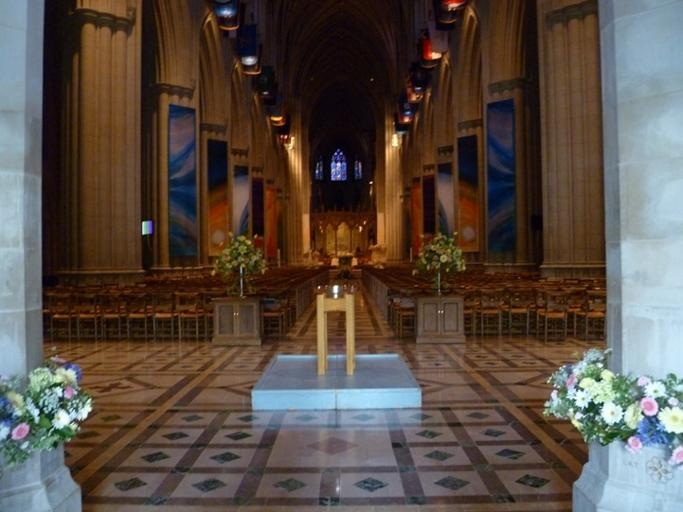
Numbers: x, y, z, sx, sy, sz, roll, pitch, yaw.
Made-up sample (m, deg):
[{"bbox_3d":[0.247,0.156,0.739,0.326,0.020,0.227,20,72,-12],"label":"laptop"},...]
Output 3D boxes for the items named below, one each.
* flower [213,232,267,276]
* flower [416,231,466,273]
[{"bbox_3d":[-2.080,0.038,12.084,0.903,0.933,0.906,2,-3,-29],"label":"flower"},{"bbox_3d":[1.937,-0.060,11.891,0.897,0.783,0.780,0,2,6],"label":"flower"}]
